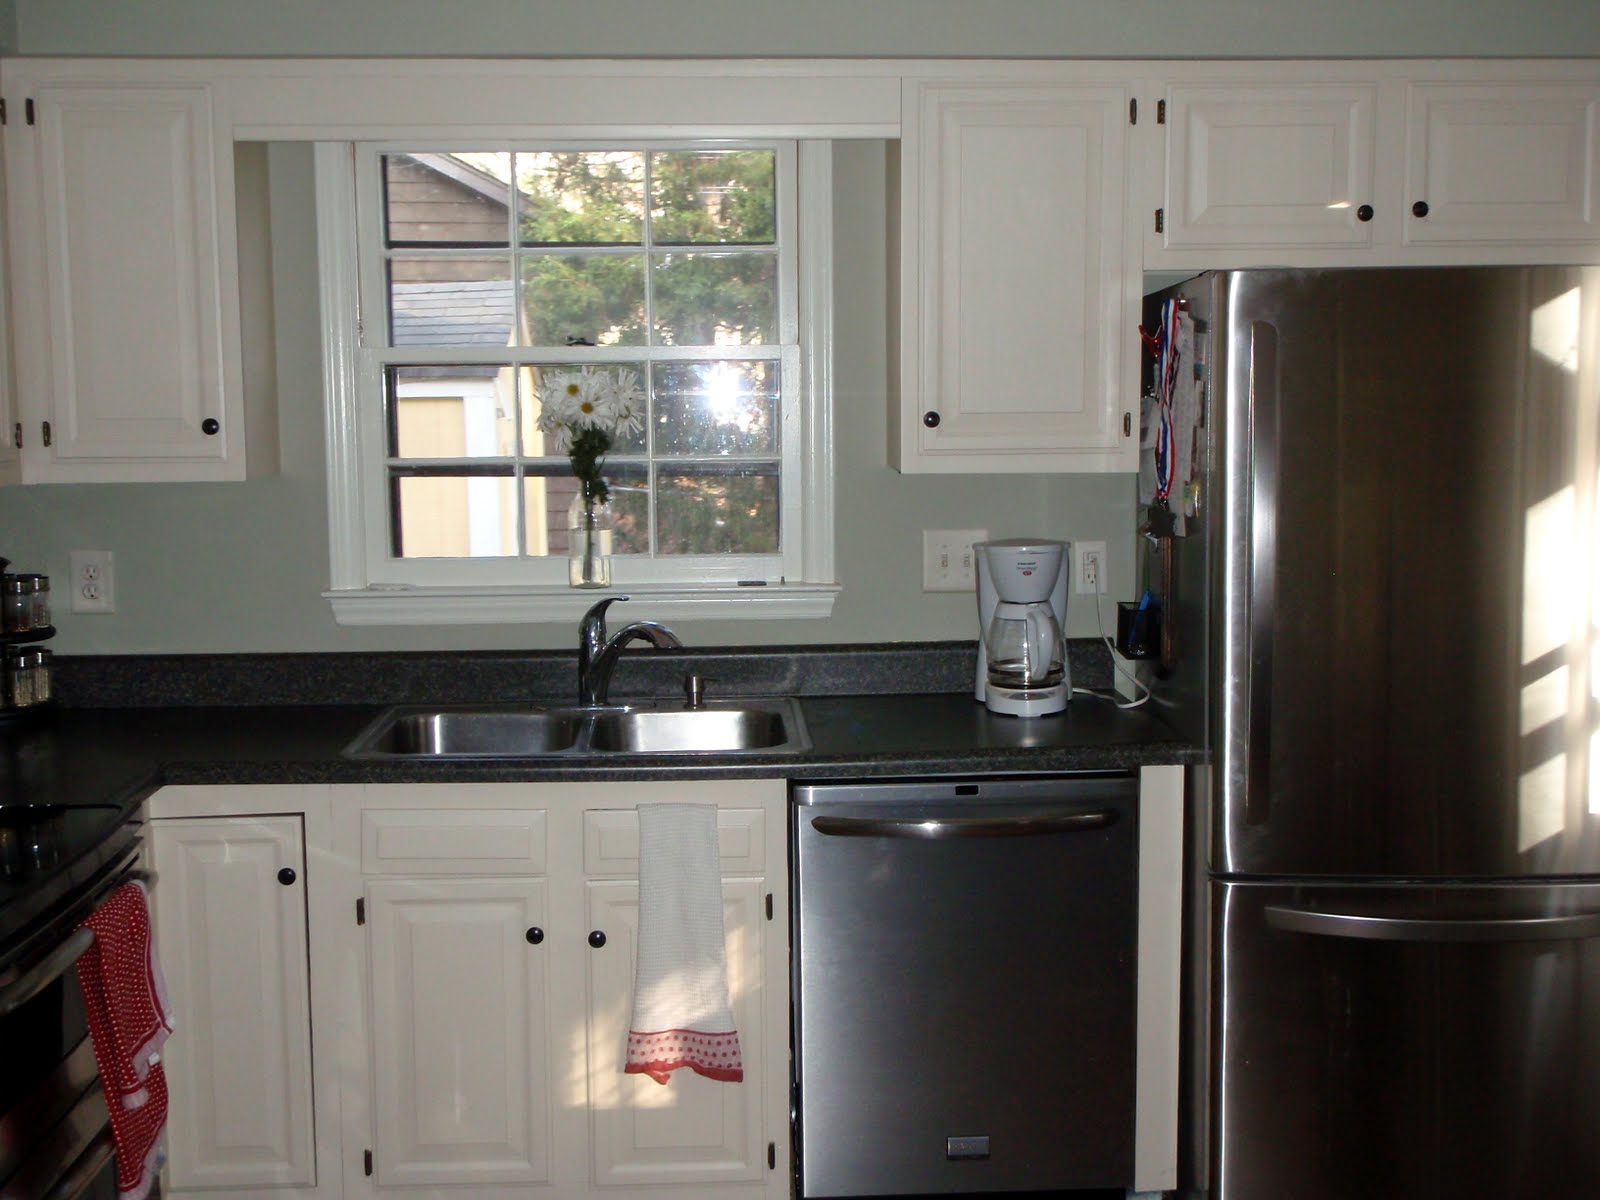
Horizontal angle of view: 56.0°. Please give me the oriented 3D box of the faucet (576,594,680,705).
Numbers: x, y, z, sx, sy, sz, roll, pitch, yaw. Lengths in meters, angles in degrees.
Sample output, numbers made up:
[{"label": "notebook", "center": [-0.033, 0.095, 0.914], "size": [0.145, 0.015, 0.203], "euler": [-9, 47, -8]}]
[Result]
[{"label": "faucet", "center": [-0.435, 0.121, 3.714], "size": [0.242, 0.262, 0.344], "euler": [-5, 9, -11]}]

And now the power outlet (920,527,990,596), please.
[{"label": "power outlet", "center": [0.392, -0.108, 3.842], "size": [0.164, 0.162, 0.024], "euler": [0, 5, -1]}]

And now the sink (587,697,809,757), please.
[{"label": "sink", "center": [-0.238, 0.320, 3.637], "size": [0.531, 0.113, 0.290], "euler": [-2, 9, 7]}]
